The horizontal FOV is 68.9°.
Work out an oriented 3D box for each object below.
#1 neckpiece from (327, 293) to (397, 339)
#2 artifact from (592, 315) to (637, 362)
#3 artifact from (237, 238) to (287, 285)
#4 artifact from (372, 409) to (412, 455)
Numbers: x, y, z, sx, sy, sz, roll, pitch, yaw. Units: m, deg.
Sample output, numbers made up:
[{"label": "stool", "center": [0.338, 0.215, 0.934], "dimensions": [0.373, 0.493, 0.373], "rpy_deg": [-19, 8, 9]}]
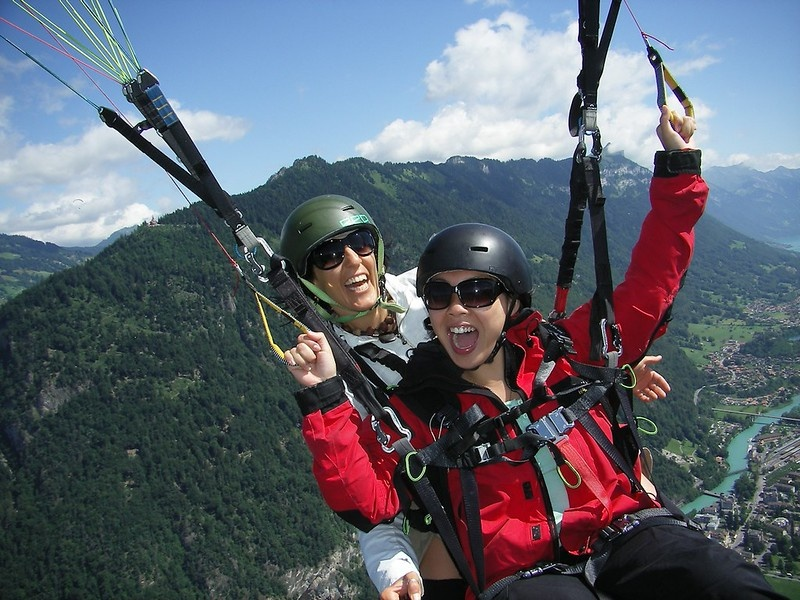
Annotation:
[{"label": "neckpiece", "center": [-0.427, 0.317, 8.003], "dimensions": [0.595, 0.228, 0.465], "rpy_deg": [-26, 11, 33]}, {"label": "artifact", "center": [2.222, 0.433, 6.340], "dimensions": [0.325, 0.486, 0.155], "rpy_deg": [-1, -3, 8]}, {"label": "artifact", "center": [-1.512, -0.393, 6.292], "dimensions": [0.150, 0.499, 0.490], "rpy_deg": [-12, 25, 50]}, {"label": "artifact", "center": [-0.098, 1.347, 6.164], "dimensions": [0.400, 0.489, 0.408], "rpy_deg": [-11, 4, -2]}]
